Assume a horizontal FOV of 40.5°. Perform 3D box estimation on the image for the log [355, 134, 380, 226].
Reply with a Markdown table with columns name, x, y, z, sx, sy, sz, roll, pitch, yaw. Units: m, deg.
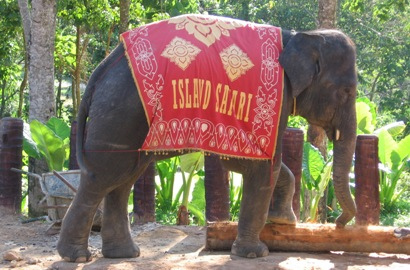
| name | x | y | z | sx | sy | sz | roll | pitch | yaw |
| --- | --- | --- | --- | --- | --- | --- | --- | --- | --- |
| log | 2.623 | 0.699 | 9.098 | 0.347 | 1.538 | 0.335 | 1 | 4 | 25 |

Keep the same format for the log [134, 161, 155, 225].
| name | x | y | z | sx | sy | sz | roll | pitch | yaw |
| --- | --- | --- | --- | --- | --- | --- | --- | --- | --- |
| log | -1.011 | 0.979 | 9.453 | 0.350 | 1.041 | 0.357 | 1 | 14 | 38 |

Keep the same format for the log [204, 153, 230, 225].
| name | x | y | z | sx | sy | sz | roll | pitch | yaw |
| --- | --- | --- | --- | --- | --- | --- | --- | --- | --- |
| log | 0.213 | 0.907 | 9.084 | 0.388 | 1.203 | 0.363 | -7 | 10 | -15 |
